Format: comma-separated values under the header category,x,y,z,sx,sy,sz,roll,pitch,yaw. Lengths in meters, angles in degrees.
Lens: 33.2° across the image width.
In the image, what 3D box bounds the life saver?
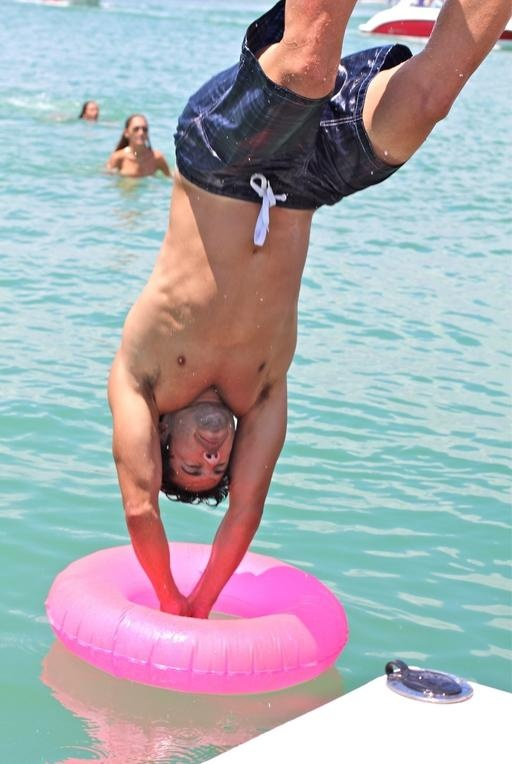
category,x,y,z,sx,sy,sz,roll,pitch,yaw
life saver,-0.216,0.805,3.060,1.027,0.213,0.929,6,9,-2

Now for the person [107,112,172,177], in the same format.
category,x,y,z,sx,sy,sz,roll,pitch,yaw
person,-1.531,-3.051,11.295,1.087,0.812,0.594,-5,24,-22
